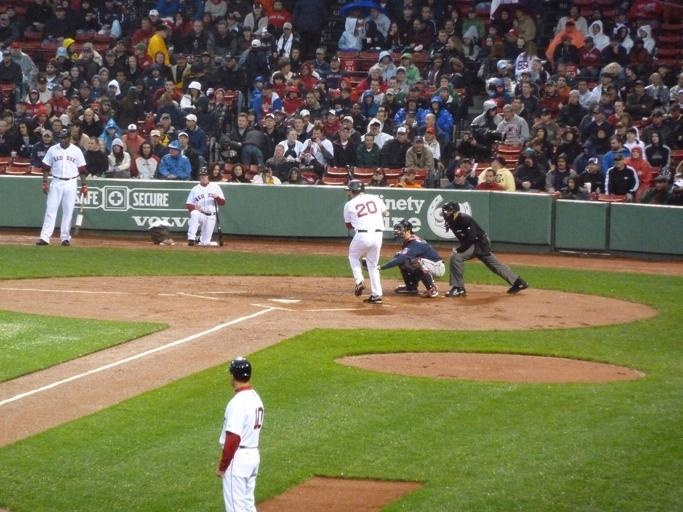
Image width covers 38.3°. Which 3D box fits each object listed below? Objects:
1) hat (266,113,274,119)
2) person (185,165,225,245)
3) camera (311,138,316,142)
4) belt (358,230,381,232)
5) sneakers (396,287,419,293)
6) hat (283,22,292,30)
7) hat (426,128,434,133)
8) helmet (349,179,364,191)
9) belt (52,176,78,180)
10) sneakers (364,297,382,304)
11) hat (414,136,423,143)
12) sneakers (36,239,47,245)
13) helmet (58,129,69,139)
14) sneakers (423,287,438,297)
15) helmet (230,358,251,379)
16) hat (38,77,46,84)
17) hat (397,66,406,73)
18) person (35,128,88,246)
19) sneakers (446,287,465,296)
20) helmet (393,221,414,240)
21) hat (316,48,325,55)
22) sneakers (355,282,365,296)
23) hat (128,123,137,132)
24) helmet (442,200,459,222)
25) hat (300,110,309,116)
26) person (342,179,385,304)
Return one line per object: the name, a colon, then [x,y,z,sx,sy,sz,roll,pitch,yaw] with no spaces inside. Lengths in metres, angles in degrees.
hat: [-2.188,-4.245,29.742,0.250,0.169,0.236,0,2,-2]
person: [-3.837,-1.326,27.410,0.976,2.092,1.407,-1,3,-11]
camera: [-0.836,-3.442,29.370,0.131,0.114,0.034,1,6,18]
belt: [0.588,-0.497,20.136,0.503,0.056,0.127,-1,2,-16]
sneakers: [1.470,0.748,21.918,0.471,0.183,0.168,4,6,9]
hat: [-1.864,-7.848,34.014,0.272,0.343,0.337,4,45,5]
hat: [2.617,-3.676,29.007,0.257,0.168,0.245,0,2,4]
helmet: [0.283,-1.410,20.283,0.264,0.223,0.251,-21,-41,9]
belt: [-7.157,-1.976,25.284,0.567,0.125,0.153,-1,3,-17]
sneakers: [0.640,0.902,20.607,0.394,0.158,0.142,5,10,22]
hat: [2.231,-3.354,28.518,0.287,0.165,0.447,1,6,1]
sneakers: [-7.925,-0.346,25.862,0.184,0.103,0.238,2,7,-16]
helmet: [-7.143,-3.073,25.235,0.239,0.319,0.470,-1,3,-17]
sneakers: [1.962,0.786,21.487,0.285,0.240,0.277,0,2,0]
helmet: [-1.290,1.406,12.582,0.246,0.248,0.282,0,18,-3]
hat: [-10.210,-5.911,33.381,0.198,0.098,0.257,-1,18,-11]
hat: [1.918,-5.878,31.347,0.257,0.237,0.426,0,2,4]
person: [-7.303,-1.741,25.496,1.168,2.978,1.149,-1,3,-16]
sneakers: [2.506,0.771,21.659,0.402,0.189,0.180,0,9,-7]
helmet: [1.372,-0.550,21.693,0.370,0.397,0.445,3,18,6]
hat: [-0.714,-6.815,33.033,0.242,0.255,0.313,1,9,-2]
sneakers: [0.397,0.698,20.709,0.138,0.158,0.357,4,-41,-18]
hat: [-6.542,-3.941,30.510,0.269,0.210,0.398,2,5,1]
helmet: [2.321,-0.948,21.076,0.460,0.427,0.367,5,15,-4]
hat: [-1.145,-4.330,30.133,0.194,0.264,0.202,2,-20,-26]
person: [0.491,-0.271,20.334,0.845,2.539,0.585,0,3,1]
